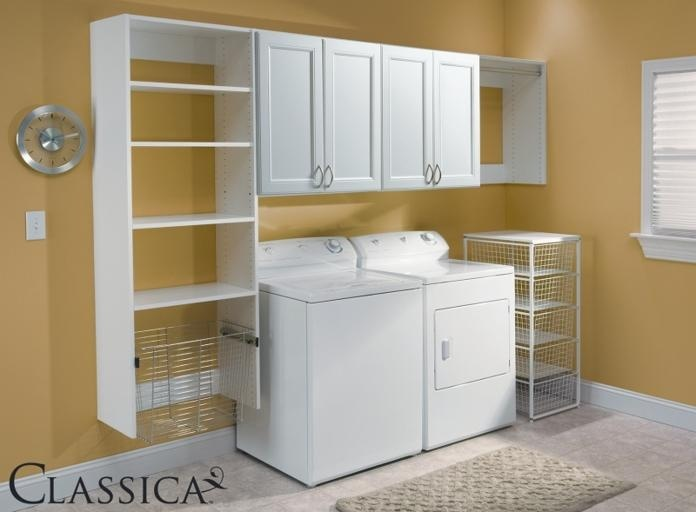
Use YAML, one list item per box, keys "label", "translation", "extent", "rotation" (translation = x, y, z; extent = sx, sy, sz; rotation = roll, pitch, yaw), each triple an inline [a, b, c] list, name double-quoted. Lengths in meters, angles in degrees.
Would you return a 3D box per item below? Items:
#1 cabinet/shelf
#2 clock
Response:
- label: "cabinet/shelf"
  translation: [-0.116, -0.119, 3.421]
  extent: [2.838, 2.443, 1.071]
  rotation: [-4, 5, -38]
- label: "clock"
  translation: [-1.566, -0.606, 2.890]
  extent: [0.376, 0.422, 0.053]
  rotation: [-1, 1, -27]
